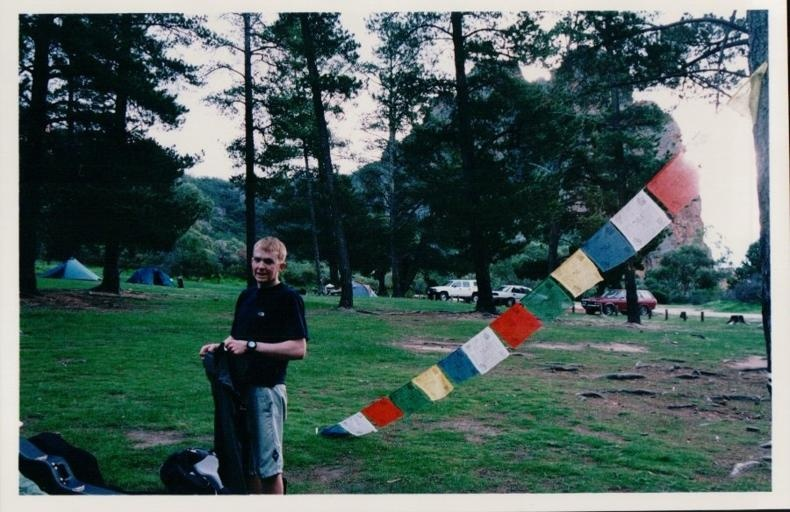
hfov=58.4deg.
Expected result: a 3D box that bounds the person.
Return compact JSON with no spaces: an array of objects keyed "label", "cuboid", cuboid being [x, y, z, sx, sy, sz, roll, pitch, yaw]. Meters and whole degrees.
[{"label":"person","cuboid":[-1.663,1.318,8.516,1.171,3.088,0.384,2,-3,-7]}]
